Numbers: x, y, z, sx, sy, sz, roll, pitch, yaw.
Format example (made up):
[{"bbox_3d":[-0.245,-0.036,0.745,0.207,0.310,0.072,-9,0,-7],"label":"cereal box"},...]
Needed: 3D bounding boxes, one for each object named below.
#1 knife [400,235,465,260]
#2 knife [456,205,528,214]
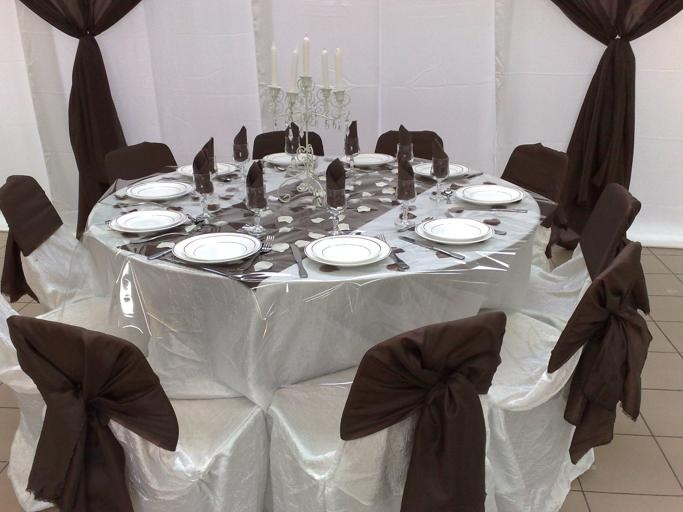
[{"bbox_3d":[0.360,-0.029,2.046,0.199,0.011,0.030,25,49,34],"label":"knife"},{"bbox_3d":[0.697,-0.212,2.418,0.282,0.023,0.041,1,43,9],"label":"knife"}]
